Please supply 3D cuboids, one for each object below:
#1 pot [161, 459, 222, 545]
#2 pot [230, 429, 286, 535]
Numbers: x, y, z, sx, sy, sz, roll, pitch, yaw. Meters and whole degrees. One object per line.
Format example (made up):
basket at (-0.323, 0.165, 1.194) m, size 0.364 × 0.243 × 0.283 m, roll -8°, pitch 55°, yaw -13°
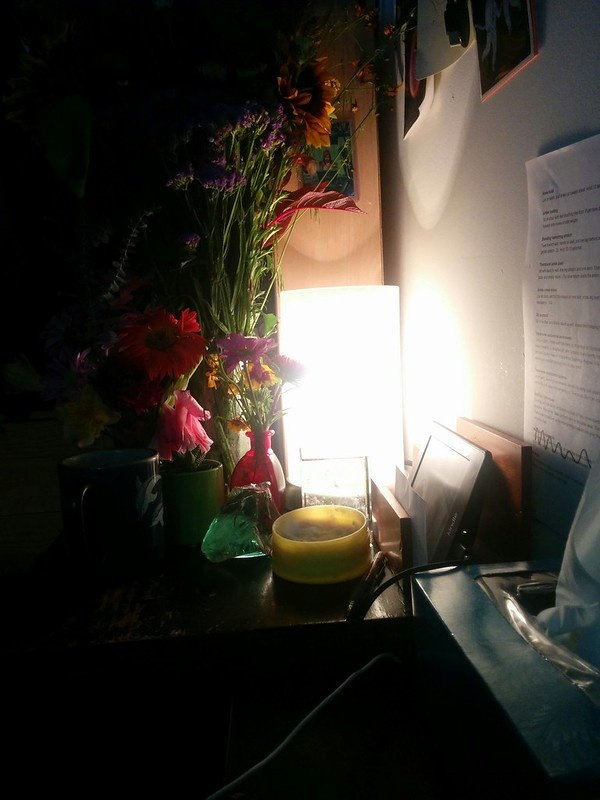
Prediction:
pot at (-0.154, 0.153, 0.883) m, size 0.096 × 0.115 × 0.083 m, roll 1°, pitch 0°, yaw -40°
pot at (-0.053, 0.120, 0.888) m, size 0.103 × 0.214 × 0.108 m, roll 1°, pitch -3°, yaw 0°
